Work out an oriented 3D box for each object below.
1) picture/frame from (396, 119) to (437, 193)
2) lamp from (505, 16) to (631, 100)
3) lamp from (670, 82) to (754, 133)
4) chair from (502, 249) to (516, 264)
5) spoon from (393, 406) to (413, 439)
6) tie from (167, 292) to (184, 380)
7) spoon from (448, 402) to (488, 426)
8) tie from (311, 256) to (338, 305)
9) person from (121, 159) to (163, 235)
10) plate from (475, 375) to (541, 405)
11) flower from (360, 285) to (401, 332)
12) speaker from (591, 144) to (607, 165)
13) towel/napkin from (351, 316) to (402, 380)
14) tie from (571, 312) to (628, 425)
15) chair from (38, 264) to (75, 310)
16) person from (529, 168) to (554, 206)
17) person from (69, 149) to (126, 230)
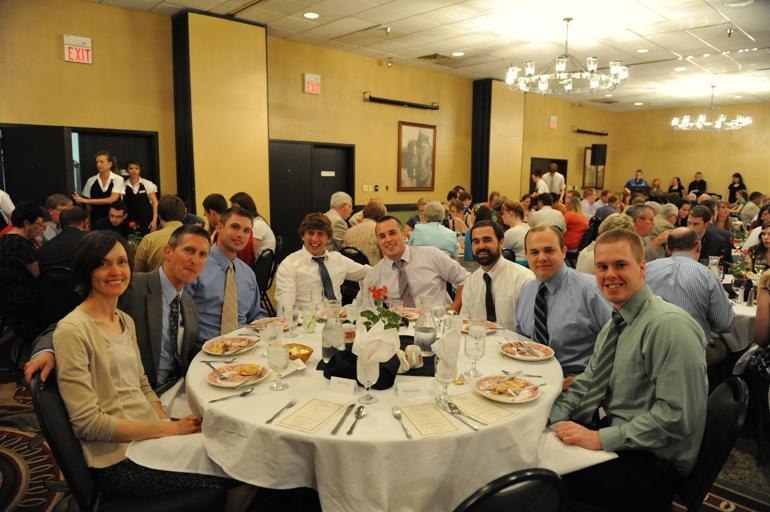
[{"bbox_3d":[0.651,-2.043,11.189,1.064,1.383,0.085,-9,13,-40],"label":"picture/frame"},{"bbox_3d":[2.906,-3.175,8.531,1.763,1.109,1.717,-3,10,-29],"label":"lamp"},{"bbox_3d":[8.296,-3.722,13.574,1.770,1.109,1.813,-7,7,45],"label":"lamp"},{"bbox_3d":[1.336,0.004,5.844,0.132,0.216,0.158,3,16,3],"label":"chair"},{"bbox_3d":[0.096,0.934,3.025,0.047,0.028,0.236,5,14,-11],"label":"spoon"},{"bbox_3d":[-1.494,0.573,3.856,0.097,0.592,0.135,-1,10,-8],"label":"tie"},{"bbox_3d":[0.470,0.913,3.076,0.073,0.045,0.275,-22,25,-26],"label":"spoon"},{"bbox_3d":[-0.527,0.188,4.950,0.131,0.082,0.552,6,44,-27],"label":"tie"},{"bbox_3d":[-3.488,-0.614,7.636,0.563,1.364,0.545,-5,22,-22],"label":"person"},{"bbox_3d":[0.733,0.802,3.265,0.193,0.032,0.194,11,17,39],"label":"plate"},{"bbox_3d":[-0.032,0.333,3.454,0.215,0.269,0.232,6,15,25],"label":"flower"},{"bbox_3d":[5.965,-2.824,15.068,0.384,0.539,0.471,3,10,15],"label":"speaker"},{"bbox_3d":[-0.022,0.536,3.274,0.331,0.450,0.322,0,2,9],"label":"towel/napkin"},{"bbox_3d":[1.343,0.696,3.390,0.287,0.683,0.151,-7,12,-33],"label":"tie"},{"bbox_3d":[-3.030,0.342,5.074,0.259,0.457,0.321,-12,-3,5],"label":"chair"},{"bbox_3d":[3.528,-1.271,12.222,0.419,1.263,0.414,2,9,8],"label":"person"},{"bbox_3d":[-3.864,-0.625,7.326,0.669,1.431,0.453,-9,20,-35],"label":"person"}]
